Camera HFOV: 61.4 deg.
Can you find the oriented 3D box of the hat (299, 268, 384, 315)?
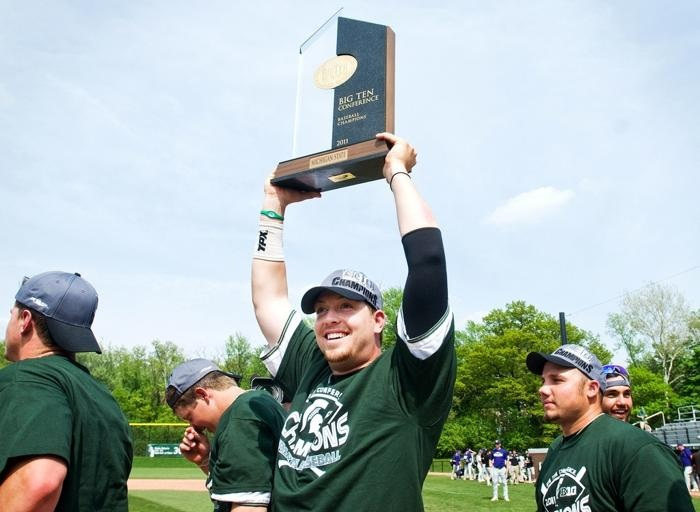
[{"bbox_3d":[-0.035,0.251,4.225,0.490,0.321,0.407,-1,22,28],"label":"hat"}]

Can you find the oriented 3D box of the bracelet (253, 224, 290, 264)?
[{"bbox_3d":[-0.624,-0.071,4.493,0.220,0.279,0.174,4,-27,6],"label":"bracelet"}]

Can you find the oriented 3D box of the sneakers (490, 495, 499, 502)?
[{"bbox_3d":[4.866,8.125,19.847,0.249,0.129,0.376,4,-31,-16],"label":"sneakers"}]
